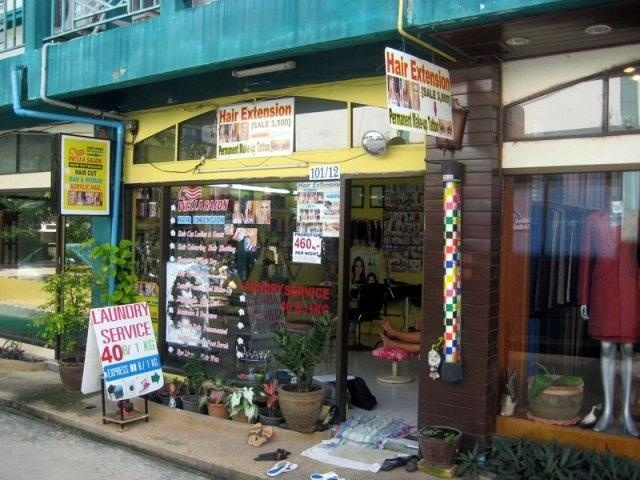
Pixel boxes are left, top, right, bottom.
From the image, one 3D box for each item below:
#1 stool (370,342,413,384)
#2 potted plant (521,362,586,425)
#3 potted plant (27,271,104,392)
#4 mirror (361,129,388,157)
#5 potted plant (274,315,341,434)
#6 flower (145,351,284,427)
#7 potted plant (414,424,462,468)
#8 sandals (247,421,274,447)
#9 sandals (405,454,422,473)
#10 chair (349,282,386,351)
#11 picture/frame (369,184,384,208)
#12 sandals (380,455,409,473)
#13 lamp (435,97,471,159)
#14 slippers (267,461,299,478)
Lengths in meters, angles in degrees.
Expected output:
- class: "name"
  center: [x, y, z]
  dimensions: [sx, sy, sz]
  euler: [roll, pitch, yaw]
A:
- class: "stool"
  center: [1.150, 1.917, 8.884]
  dimensions: [0.609, 0.525, 0.605]
  euler: [-1, 3, -11]
- class: "potted plant"
  center: [2.573, 1.693, 6.351]
  dimensions: [0.533, 0.513, 0.495]
  euler: [1, -1, -17]
- class: "potted plant"
  center: [-3.808, 1.446, 9.074]
  dimensions: [0.865, 1.741, 1.126]
  euler: [-11, -9, 25]
- class: "mirror"
  center: [0.651, -1.155, 6.845]
  dimensions: [0.286, 0.288, 0.070]
  euler: [1, 13, 26]
- class: "potted plant"
  center: [-0.147, 1.607, 7.200]
  dimensions: [0.768, 1.338, 0.845]
  euler: [-2, 14, 15]
- class: "flower"
  center: [-1.433, 2.111, 7.919]
  dimensions: [1.781, 0.721, 0.691]
  euler: [8, 7, 37]
- class: "potted plant"
  center: [1.225, 2.149, 6.047]
  dimensions: [0.367, 0.239, 0.363]
  euler: [1, -4, -20]
- class: "sandals"
  center: [-0.702, 2.280, 6.745]
  dimensions: [0.188, 0.090, 0.250]
  euler: [4, 25, 21]
- class: "sandals"
  center: [1.003, 2.384, 6.110]
  dimensions: [0.120, 0.056, 0.232]
  euler: [1, 8, 16]
- class: "chair"
  center: [0.969, 1.510, 11.444]
  dimensions: [0.785, 1.255, 1.237]
  euler: [-5, 13, 6]
- class: "picture/frame"
  center: [1.240, -0.959, 12.358]
  dimensions: [0.491, 0.680, 0.074]
  euler: [3, 4, 42]
- class: "sandals"
  center: [0.808, 2.401, 6.159]
  dimensions: [0.307, 0.093, 0.116]
  euler: [1, 3, -27]
- class: "lamp"
  center: [1.437, -1.240, 6.209]
  dimensions: [0.424, 0.572, 0.233]
  euler: [-17, 17, -39]
- class: "slippers"
  center: [-0.416, 2.414, 6.052]
  dimensions: [0.221, 0.050, 0.115]
  euler: [-5, 9, -44]
